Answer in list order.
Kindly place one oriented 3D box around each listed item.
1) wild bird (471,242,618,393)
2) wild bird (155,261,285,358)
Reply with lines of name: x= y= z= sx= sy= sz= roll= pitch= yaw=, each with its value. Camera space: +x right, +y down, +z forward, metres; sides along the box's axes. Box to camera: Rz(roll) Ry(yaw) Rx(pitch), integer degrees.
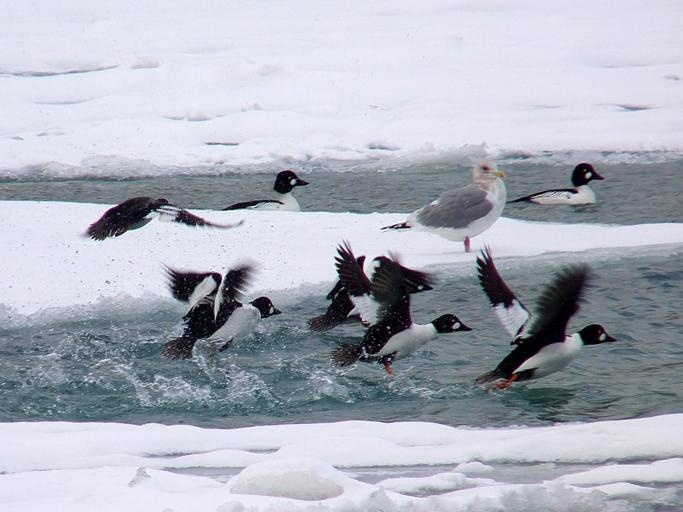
wild bird: x=2.231 y=0.776 z=15.721 sx=1.474 sy=1.650 sz=0.652 roll=-2 pitch=20 yaw=6
wild bird: x=-1.405 y=0.783 z=17.027 sx=1.764 sy=1.348 sz=0.662 roll=0 pitch=63 yaw=5
